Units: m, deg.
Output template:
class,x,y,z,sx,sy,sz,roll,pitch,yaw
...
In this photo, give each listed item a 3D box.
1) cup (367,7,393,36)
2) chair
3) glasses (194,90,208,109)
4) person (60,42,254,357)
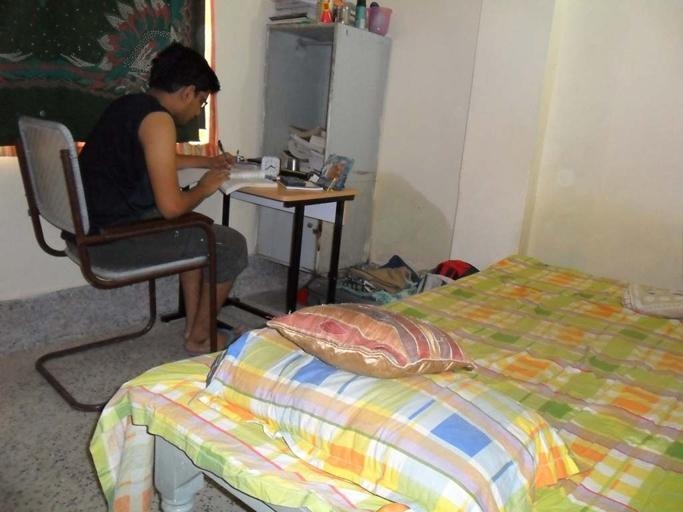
class,x,y,z,sx,sy,sz,roll,pitch,yaw
cup,0.273,-1.719,3.647,0.178,0.161,0.202,10,27,9
chair,-1.048,-0.002,2.364,0.801,1.104,0.835,12,15,19
glasses,-0.668,-0.745,2.338,0.070,0.088,0.049,10,4,30
person,-0.859,-0.235,2.433,0.668,1.426,0.814,18,19,40
